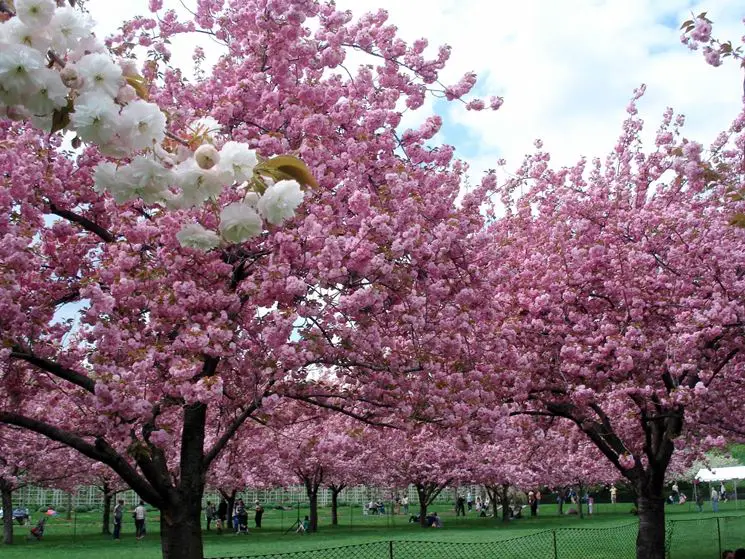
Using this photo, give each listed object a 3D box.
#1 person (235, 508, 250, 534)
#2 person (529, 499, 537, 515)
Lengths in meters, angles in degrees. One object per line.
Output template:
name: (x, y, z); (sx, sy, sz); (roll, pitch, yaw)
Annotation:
person: (-6.573, 12.016, 34.428); (0.466, 1.139, 0.783); (1, -19, -15)
person: (11.795, 16.753, 50.586); (0.398, 0.977, 1.352); (-7, -18, 8)
